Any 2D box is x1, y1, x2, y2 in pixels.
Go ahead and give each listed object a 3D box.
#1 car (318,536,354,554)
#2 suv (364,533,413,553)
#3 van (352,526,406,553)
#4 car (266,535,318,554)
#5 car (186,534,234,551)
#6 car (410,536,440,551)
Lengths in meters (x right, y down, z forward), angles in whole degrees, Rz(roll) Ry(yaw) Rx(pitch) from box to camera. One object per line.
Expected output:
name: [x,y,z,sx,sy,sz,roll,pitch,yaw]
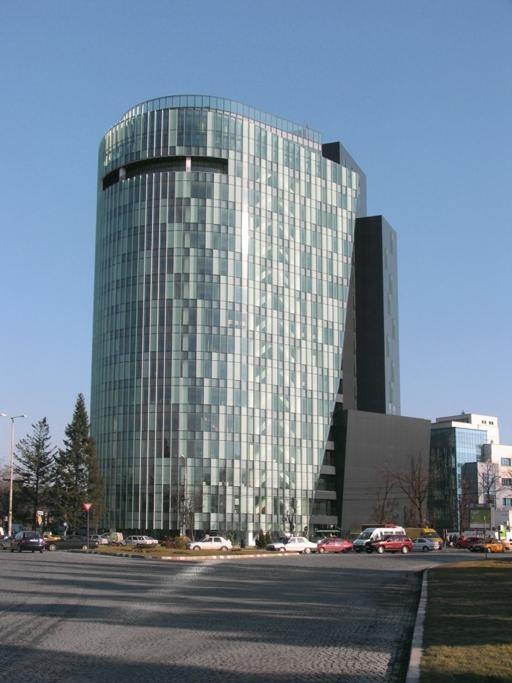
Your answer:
car: [6.884,17.546,67.239,2.077,1.035,1.447,4,-12,3]
suv: [10.884,16.457,63.450,3.192,1.363,1.679,7,-16,-17]
van: [10.309,16.074,64.270,3.189,1.679,2.211,11,-22,-27]
car: [3.371,17.964,68.778,2.730,1.082,1.926,8,-19,-10]
car: [-3.921,17.637,67.968,2.842,1.101,4.971,-4,-10,21]
car: [14.953,17.894,68.910,2.349,1.102,1.349,5,-8,3]
